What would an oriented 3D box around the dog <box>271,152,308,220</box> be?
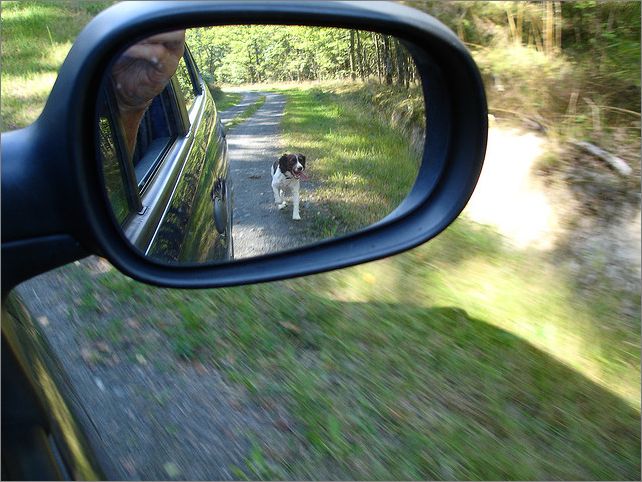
[{"bbox_3d":[-0.297,-0.465,3.450,0.212,0.535,0.784,-2,15,-16],"label":"dog"}]
